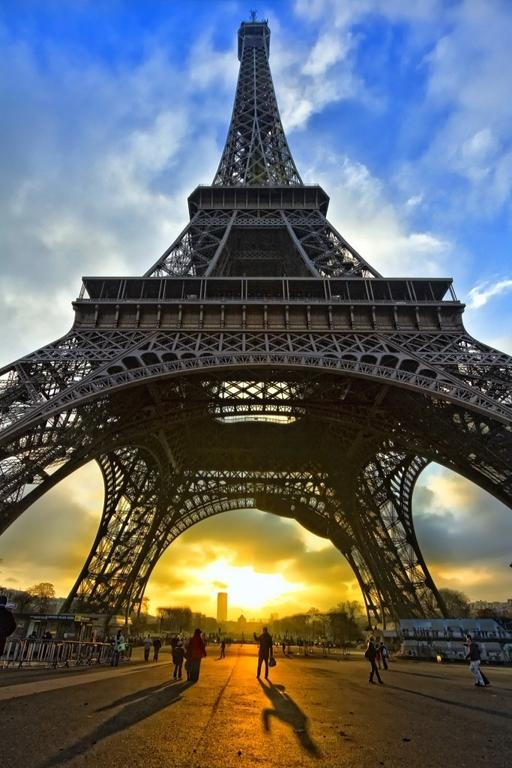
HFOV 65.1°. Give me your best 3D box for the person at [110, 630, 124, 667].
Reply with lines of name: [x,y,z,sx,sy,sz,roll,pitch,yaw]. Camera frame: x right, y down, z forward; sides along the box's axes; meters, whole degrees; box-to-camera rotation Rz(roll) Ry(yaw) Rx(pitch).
person: [-6.641,12.172,18.810,0.467,1.366,1.956,9,-33,-16]
